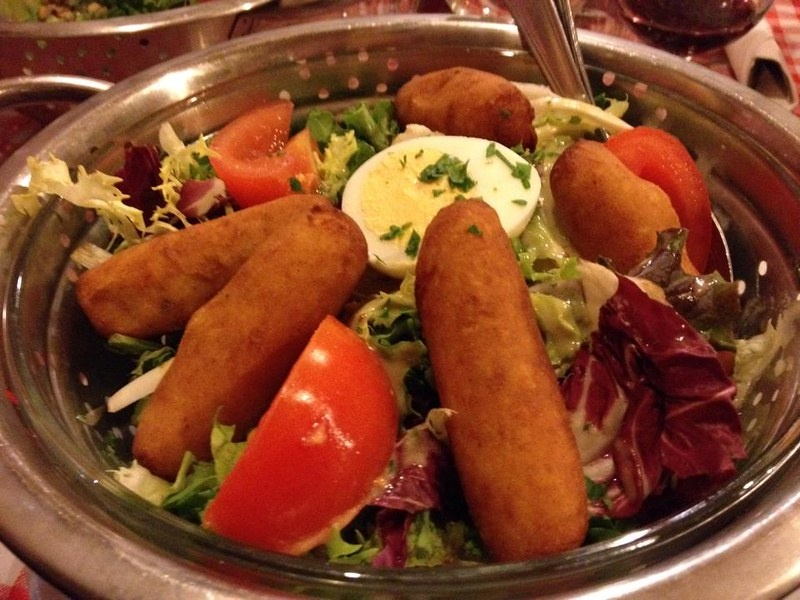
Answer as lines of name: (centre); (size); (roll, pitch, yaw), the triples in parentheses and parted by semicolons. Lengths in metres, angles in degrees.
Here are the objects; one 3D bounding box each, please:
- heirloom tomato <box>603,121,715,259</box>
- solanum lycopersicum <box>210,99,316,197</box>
heirloom tomato: (0.500, -0.189, 1.447); (0.071, 0.193, 0.260); (-24, 84, 37)
solanum lycopersicum: (-0.284, -0.278, 1.540); (0.210, 0.095, 0.215); (33, 63, 12)
